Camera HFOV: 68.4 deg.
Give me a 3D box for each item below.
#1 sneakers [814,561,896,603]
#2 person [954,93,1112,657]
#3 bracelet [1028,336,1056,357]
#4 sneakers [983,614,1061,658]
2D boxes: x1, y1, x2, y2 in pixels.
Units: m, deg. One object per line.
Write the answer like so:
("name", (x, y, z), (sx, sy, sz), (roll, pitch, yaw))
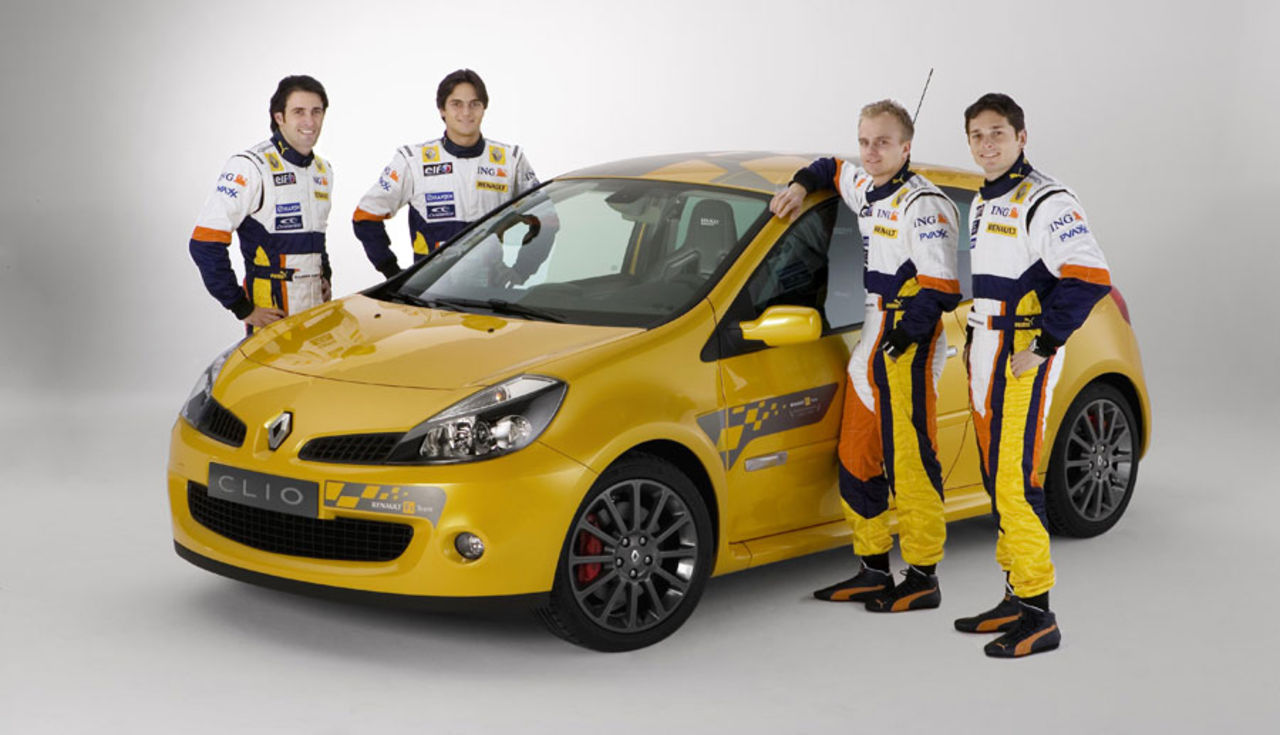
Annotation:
("sneakers", (1.233, 1.237, 5.446), (0.541, 0.243, 0.187), (1, 5, 8))
("person", (2.018, 0.048, 4.903), (0.530, 2.834, 0.698), (-3, 15, -13))
("bracelet", (2.031, -0.109, 4.740), (0.110, 0.085, 0.087), (21, 27, -41))
("sneakers", (2.018, 1.393, 5.008), (0.468, 0.206, 0.172), (-5, 8, -22))
